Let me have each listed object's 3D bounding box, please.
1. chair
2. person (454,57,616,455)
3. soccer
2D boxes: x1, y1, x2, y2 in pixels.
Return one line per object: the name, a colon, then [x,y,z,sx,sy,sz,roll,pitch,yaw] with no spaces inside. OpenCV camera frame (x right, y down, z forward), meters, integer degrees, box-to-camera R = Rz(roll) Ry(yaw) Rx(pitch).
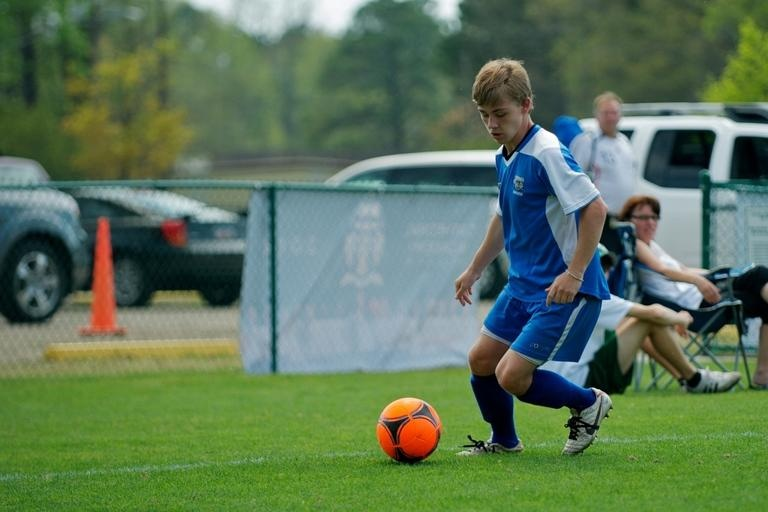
chair: [3.319,0.547,15.870,1.608,1.997,1.404,-6,-7,13]
person: [1.467,0.051,13.574,1.405,3.812,0.805,1,13,11]
soccer: [0.243,1.693,13.728,0.598,0.580,0.268,-2,13,-2]
